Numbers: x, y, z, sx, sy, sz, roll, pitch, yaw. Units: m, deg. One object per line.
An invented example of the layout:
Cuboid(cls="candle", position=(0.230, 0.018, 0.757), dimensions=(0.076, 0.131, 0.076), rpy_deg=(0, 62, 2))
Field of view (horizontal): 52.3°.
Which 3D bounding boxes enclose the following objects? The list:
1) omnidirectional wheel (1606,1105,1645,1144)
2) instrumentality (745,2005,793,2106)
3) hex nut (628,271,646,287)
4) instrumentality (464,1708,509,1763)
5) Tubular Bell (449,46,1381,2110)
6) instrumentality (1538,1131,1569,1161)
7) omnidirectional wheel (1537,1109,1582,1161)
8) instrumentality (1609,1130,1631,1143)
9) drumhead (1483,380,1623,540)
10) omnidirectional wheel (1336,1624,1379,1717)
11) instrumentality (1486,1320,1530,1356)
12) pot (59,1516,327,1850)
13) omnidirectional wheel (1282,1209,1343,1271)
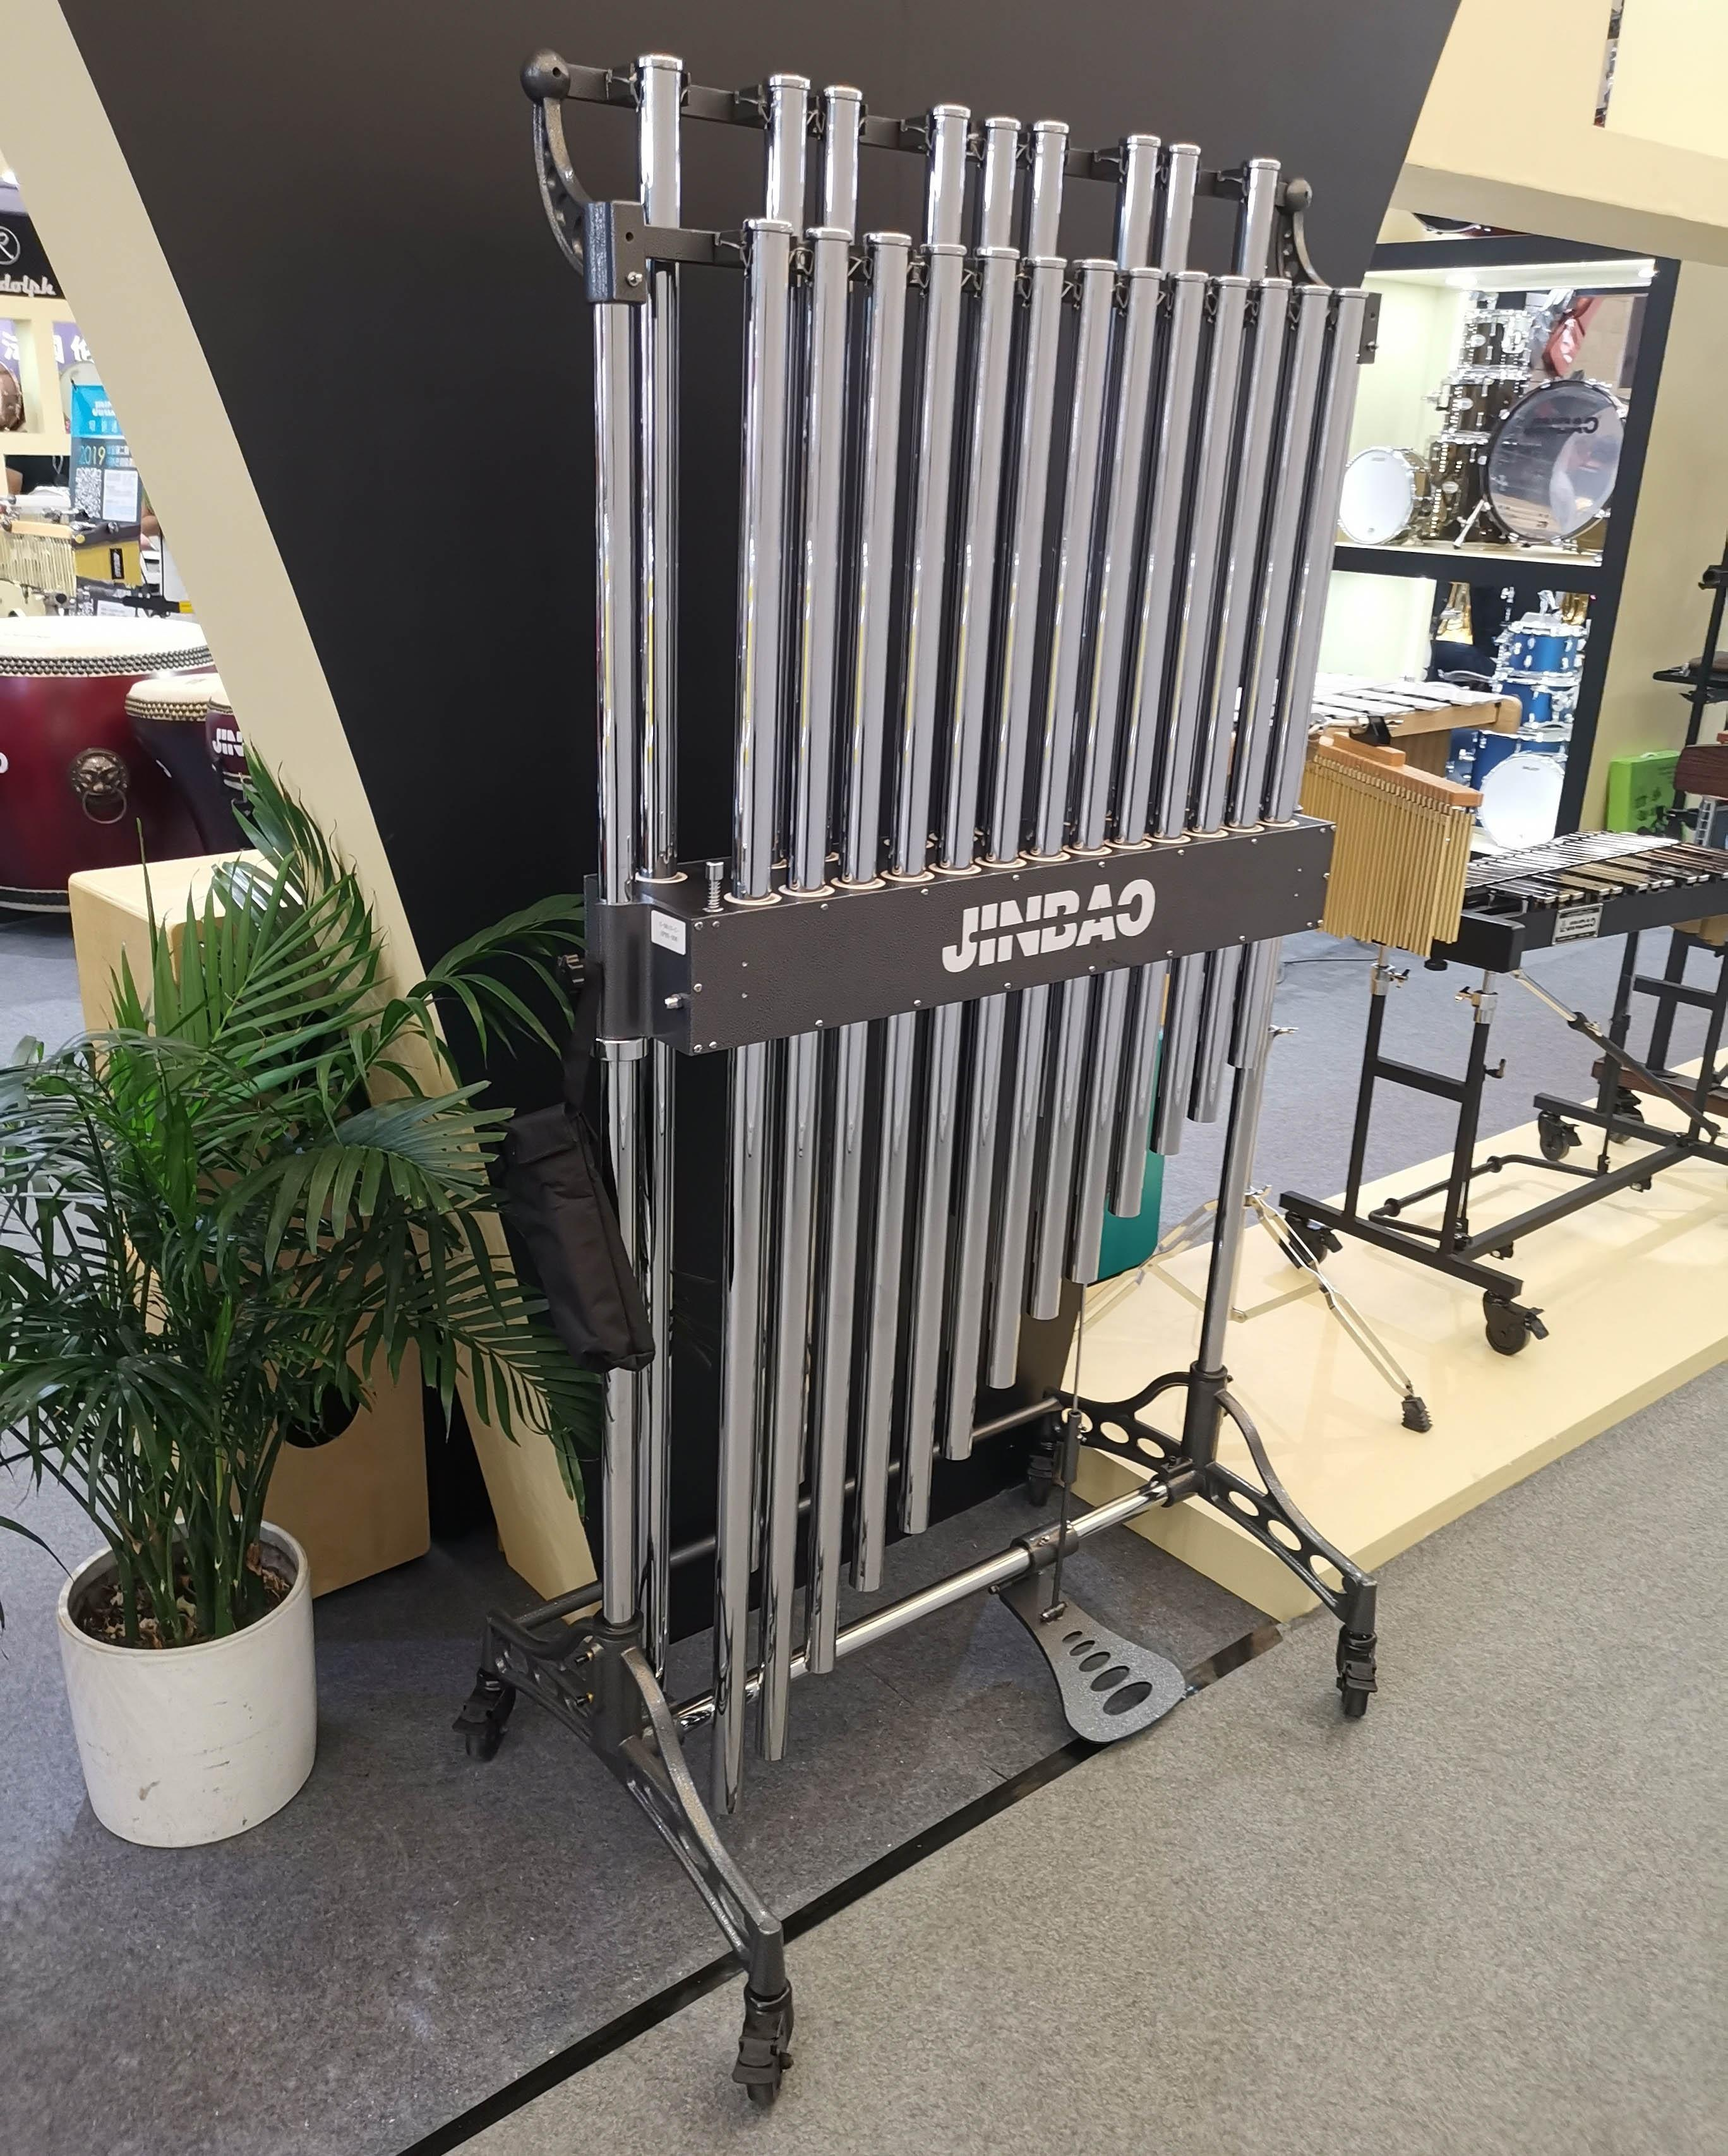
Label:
Cuboid(cls="omnidirectional wheel", position=(1.602, 0.095, 3.705), dimensions=(0.081, 0.111, 0.055), rpy_deg=(5, 22, 36))
Cuboid(cls="instrumentality", position=(-0.092, 0.894, 1.616), dimensions=(0.051, 0.085, 0.073), rpy_deg=(6, 30, 1))
Cuboid(cls="hex nut", position=(-0.169, -0.589, 1.294), dimensions=(0.002, 0.010, 0.016), rpy_deg=(28, 36, 32))
Cuboid(cls="instrumentality", position=(-0.437, 0.765, 2.049), dimensions=(0.056, 0.055, 0.017), rpy_deg=(-32, 12, -3))
Cuboid(cls="Tubular Bell", position=(-0.127, 0.078, 1.954), dimensions=(0.908, 1.974, 0.367), rpy_deg=(-5, 22, -34))
Cuboid(cls="instrumentality", position=(1.476, 0.144, 3.760), dimensions=(0.053, 0.064, 0.027), rpy_deg=(15, 26, 43))
Cuboid(cls="omnidirectional wheel", position=(1.490, 0.122, 3.771), dimensions=(0.092, 0.100, 0.046), rpy_deg=(20, 20, 34))
Cuboid(cls="instrumentality", position=(1.619, 0.122, 3.771), dimensions=(0.036, 0.010, 0.035), rpy_deg=(-1, -19, 25))
Cuboid(cls="drumhead", position=(1.963, -1.784, 5.088), dimensions=(0.340, 0.479, 0.315), rpy_deg=(21, 34, 26))
Cuboid(cls="omnidirectional wheel", position=(0.602, 0.738, 2.186), dimensions=(0.042, 0.058, 0.120), rpy_deg=(0, 19, 9))
Cuboid(cls="instrumentality", position=(1.082, 0.436, 2.956), dimensions=(0.015, 0.048, 0.054), rpy_deg=(-19, 35, -42))
Cuboid(cls="pot", position=(-0.714, 0.667, 1.893), dimensions=(0.244, 0.293, 0.166), rpy_deg=(-8, 33, -22))
Cuboid(cls="omnidirectional wheel", position=(0.826, 0.303, 3.261), dimensions=(0.124, 0.037, 0.086), rpy_deg=(27, 34, -22))
